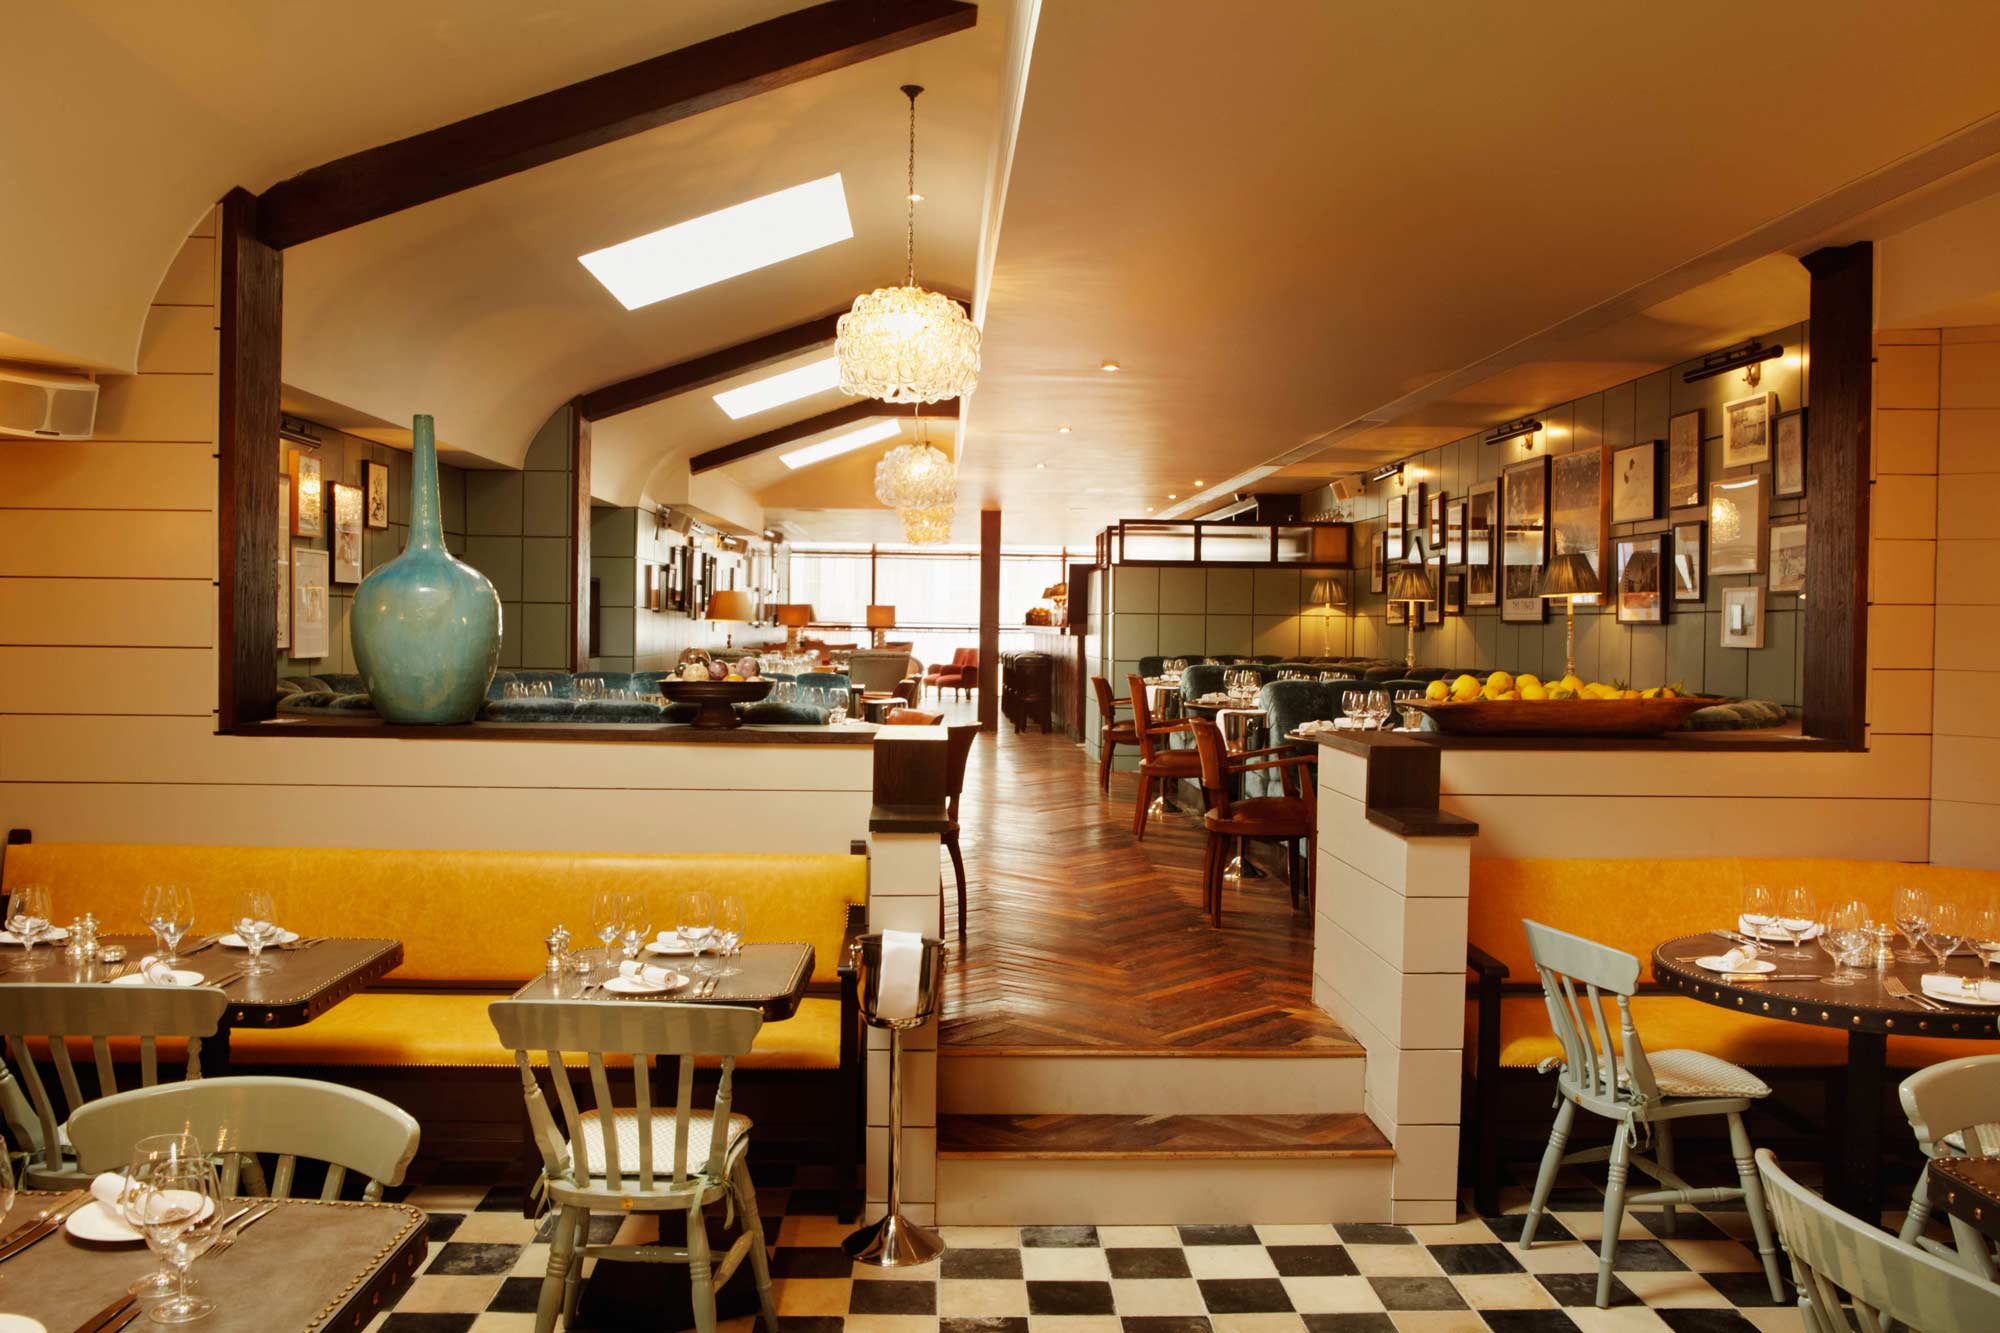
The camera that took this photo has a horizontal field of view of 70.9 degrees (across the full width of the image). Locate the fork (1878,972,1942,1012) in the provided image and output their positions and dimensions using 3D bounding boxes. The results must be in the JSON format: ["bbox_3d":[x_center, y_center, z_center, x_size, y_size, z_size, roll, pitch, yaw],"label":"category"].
[{"bbox_3d":[3.275,1.170,5.096,0.081,0.013,0.264,3,4,9],"label":"fork"}]

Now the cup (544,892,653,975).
[{"bbox_3d":[-1.655,1.077,5.797,0.361,0.162,0.496,0,3,-7],"label":"cup"}]

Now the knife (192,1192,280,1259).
[{"bbox_3d":[-2.075,1.495,3.768,0.074,0.026,0.236,2,1,-6],"label":"knife"}]

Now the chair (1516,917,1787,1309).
[{"bbox_3d":[2.499,1.712,5.457,0.813,1.193,0.935,1,-7,11],"label":"chair"}]

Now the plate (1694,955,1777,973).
[{"bbox_3d":[2.758,1.108,5.266,0.269,0.044,0.181,-2,1,26],"label":"plate"}]

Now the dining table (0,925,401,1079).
[{"bbox_3d":[-2.745,1.143,5.240,0.787,0.459,0.768,2,5,-3],"label":"dining table"}]

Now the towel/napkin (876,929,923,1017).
[{"bbox_3d":[-0.379,1.159,5.245,0.192,0.320,0.046,-2,1,-5],"label":"towel/napkin"}]
